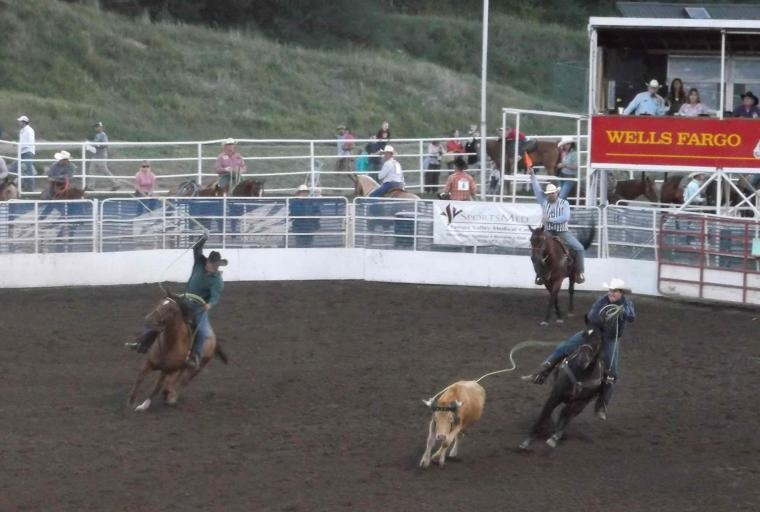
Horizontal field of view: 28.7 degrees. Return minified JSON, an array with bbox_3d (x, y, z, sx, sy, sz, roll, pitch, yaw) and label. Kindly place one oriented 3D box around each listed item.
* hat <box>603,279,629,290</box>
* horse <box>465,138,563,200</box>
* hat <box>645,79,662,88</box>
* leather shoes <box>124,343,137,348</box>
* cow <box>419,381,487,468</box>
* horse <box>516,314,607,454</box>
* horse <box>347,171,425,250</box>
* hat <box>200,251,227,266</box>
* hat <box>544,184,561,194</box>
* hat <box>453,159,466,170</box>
[{"bbox_3d":[6.273,0.740,39.287,0.488,0.174,0.445,8,-8,-27],"label":"hat"},{"bbox_3d":[4.706,-3.018,49.723,3.215,1.802,0.752,0,-5,10],"label":"horse"},{"bbox_3d":[8.832,-5.572,47.905,0.510,0.229,0.587,6,-11,1],"label":"hat"},{"bbox_3d":[-6.469,2.308,38.661,0.264,0.195,0.654,-1,-4,-8],"label":"leather shoes"},{"bbox_3d":[1.725,4.123,36.444,0.900,2.054,1.470,7,7,43],"label":"cow"},{"bbox_3d":[4.990,3.361,37.291,0.841,2.041,3.311,-17,-3,-28],"label":"horse"},{"bbox_3d":[0.175,-1.463,48.188,3.513,2.099,3.055,5,6,27],"label":"horse"},{"bbox_3d":[-4.113,0.096,38.135,0.445,0.187,0.480,35,35,31],"label":"hat"},{"bbox_3d":[5.135,-2.003,44.134,0.472,0.210,0.528,0,-5,8],"label":"hat"},{"bbox_3d":[2.747,-3.154,50.882,0.310,0.378,0.383,0,19,6],"label":"hat"}]
